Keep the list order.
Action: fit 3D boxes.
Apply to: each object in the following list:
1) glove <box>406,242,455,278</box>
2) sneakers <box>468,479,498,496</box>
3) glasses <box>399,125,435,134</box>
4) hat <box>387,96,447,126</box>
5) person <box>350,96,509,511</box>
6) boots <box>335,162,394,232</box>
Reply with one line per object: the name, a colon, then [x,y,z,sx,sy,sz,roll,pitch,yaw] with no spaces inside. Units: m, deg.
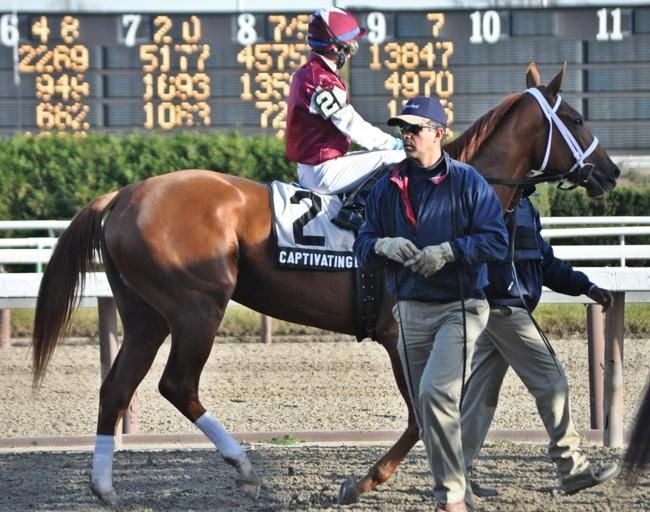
glove: [0.788,0.016,13.137,0.296,0.150,0.244,-23,-1,15]
sneakers: [1.206,1.803,13.655,0.256,0.114,0.089,-2,4,-3]
glasses: [0.647,-0.944,13.204,0.179,0.073,0.031,-1,6,1]
hat: [0.713,-1.094,13.327,0.480,0.272,0.336,6,-4,-44]
person: [0.818,0.364,13.241,1.093,3.091,0.476,0,6,6]
boots: [0.230,-0.458,13.881,0.499,0.525,0.367,30,2,-1]
